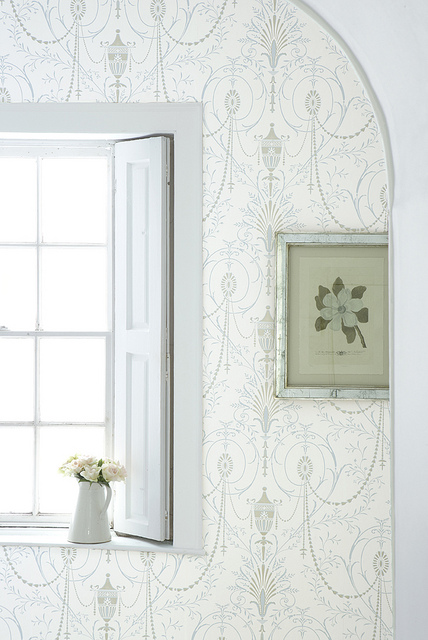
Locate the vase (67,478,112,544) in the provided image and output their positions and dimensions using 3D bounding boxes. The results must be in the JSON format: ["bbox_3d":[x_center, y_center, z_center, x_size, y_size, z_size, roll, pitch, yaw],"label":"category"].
[{"bbox_3d":[-0.361,0.553,2.079,0.125,0.170,0.124,3,-19,-8],"label":"vase"}]
